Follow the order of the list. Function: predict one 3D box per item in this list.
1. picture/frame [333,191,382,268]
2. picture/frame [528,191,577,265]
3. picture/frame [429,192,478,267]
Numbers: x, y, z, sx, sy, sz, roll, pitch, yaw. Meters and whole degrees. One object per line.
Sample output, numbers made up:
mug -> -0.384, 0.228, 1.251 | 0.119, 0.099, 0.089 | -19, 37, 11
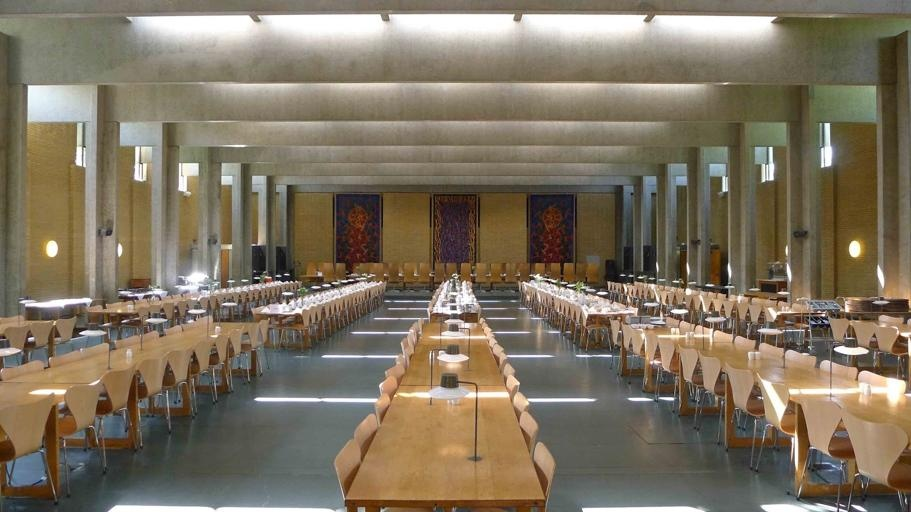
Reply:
picture/frame -> -5.087, -1.436, 36.947 | 2.464, 3.752, 0.146 | -1, 2, -1
picture/frame -> 5.118, -1.460, 36.893 | 2.416, 3.618, 0.421 | -1, 2, -7
picture/frame -> 0.031, -1.458, 36.956 | 2.421, 3.620, 0.203 | -1, 2, 1
